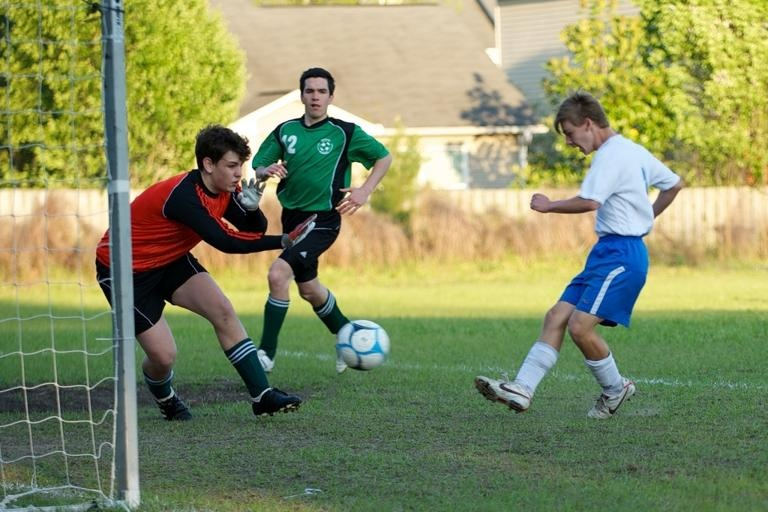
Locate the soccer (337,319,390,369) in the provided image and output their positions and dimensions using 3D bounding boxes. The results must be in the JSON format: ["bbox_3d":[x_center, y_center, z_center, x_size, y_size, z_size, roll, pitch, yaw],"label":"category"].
[{"bbox_3d":[-0.263,1.109,14.253,0.670,0.522,0.537,1,-11,31],"label":"soccer"}]

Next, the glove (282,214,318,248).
[{"bbox_3d":[-1.007,-0.282,13.061,0.625,0.147,0.181,-32,-17,-8],"label":"glove"}]

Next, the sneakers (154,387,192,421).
[{"bbox_3d":[-2.509,1.829,13.496,0.614,0.208,0.259,30,-9,11],"label":"sneakers"}]
